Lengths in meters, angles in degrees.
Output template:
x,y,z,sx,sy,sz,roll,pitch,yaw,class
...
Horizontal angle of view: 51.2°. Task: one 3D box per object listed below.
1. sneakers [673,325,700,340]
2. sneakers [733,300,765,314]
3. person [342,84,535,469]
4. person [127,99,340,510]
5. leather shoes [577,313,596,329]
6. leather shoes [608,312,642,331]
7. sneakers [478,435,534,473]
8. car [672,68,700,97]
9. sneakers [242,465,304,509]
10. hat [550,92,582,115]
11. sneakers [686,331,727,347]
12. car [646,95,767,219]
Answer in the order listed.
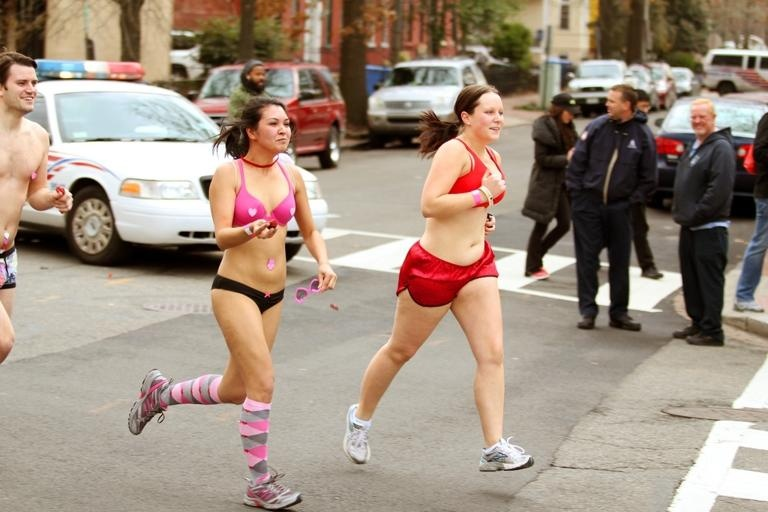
x,y,z,sx,sy,sz,roll,pitch,yaw,class
3.035,0.770,8.025,0.242,0.082,0.104,-2,6,22,sneakers
3.910,0.551,8.595,0.326,0.108,0.115,1,2,9,sneakers
0.391,0.151,5.087,1.205,2.432,1.167,2,15,-3,person
-0.767,0.232,4.808,1.041,2.324,1.286,-11,20,-40,person
2.098,0.689,8.237,0.101,0.097,0.246,1,5,8,leather shoes
2.498,0.689,8.355,0.340,0.125,0.160,1,3,31,leather shoes
0.731,1.222,4.951,0.444,0.201,0.161,-1,1,13,sneakers
18.015,-10.220,47.737,2.010,1.304,3.931,4,23,17,car
-0.635,1.352,4.595,0.310,0.197,0.195,-3,15,-22,sneakers
2.312,-1.915,10.014,0.391,0.164,0.234,6,24,-4,hat
3.152,0.817,7.869,0.384,0.128,0.127,3,0,4,sneakers
6.357,-2.118,15.623,2.200,1.530,4.163,1,12,16,car
